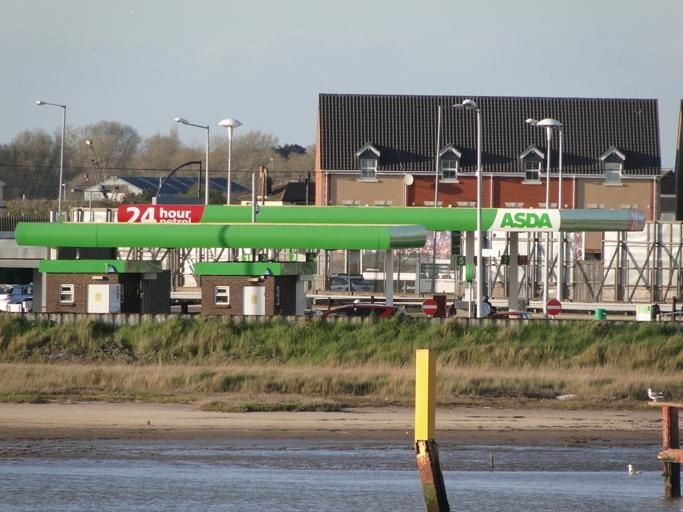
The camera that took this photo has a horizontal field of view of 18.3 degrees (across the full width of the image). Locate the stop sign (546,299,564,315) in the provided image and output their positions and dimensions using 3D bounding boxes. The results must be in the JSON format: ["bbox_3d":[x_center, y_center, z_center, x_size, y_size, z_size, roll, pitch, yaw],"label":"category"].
[{"bbox_3d":[11.399,2.729,112.360,1.001,1.040,0.174,1,10,5],"label":"stop sign"}]

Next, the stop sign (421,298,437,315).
[{"bbox_3d":[4.766,2.721,111.810,0.996,1.028,0.183,-2,5,-4],"label":"stop sign"}]

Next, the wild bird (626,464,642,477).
[{"bbox_3d":[12.922,9.460,92.786,0.583,0.496,0.962,-2,-3,7],"label":"wild bird"}]
